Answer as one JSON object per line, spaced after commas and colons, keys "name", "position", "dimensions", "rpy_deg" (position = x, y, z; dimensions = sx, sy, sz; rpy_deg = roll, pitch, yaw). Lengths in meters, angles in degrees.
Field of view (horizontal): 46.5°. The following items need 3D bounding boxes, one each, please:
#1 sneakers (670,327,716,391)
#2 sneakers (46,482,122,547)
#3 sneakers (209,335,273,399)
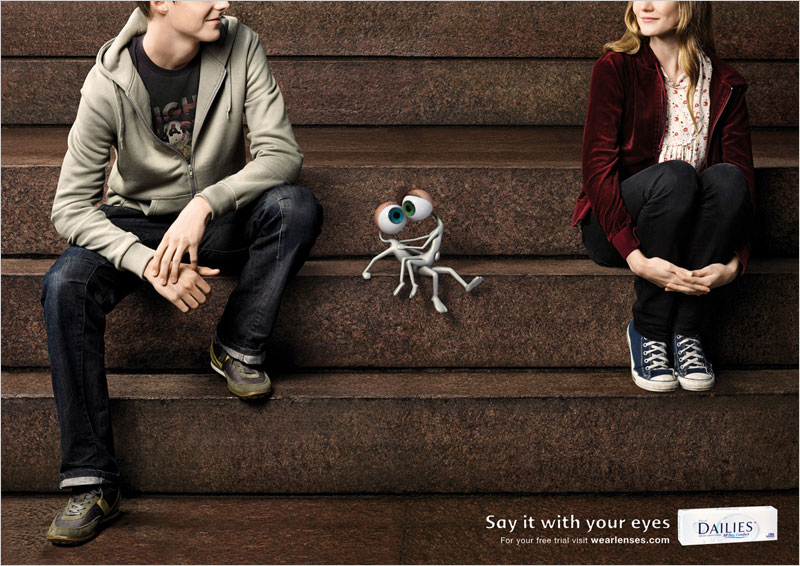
{"name": "sneakers", "position": [0.942, 0.265, 3.015], "dimensions": [0.094, 0.085, 0.237], "rpy_deg": [-6, 17, 5]}
{"name": "sneakers", "position": [-0.944, 0.701, 2.877], "dimensions": [0.119, 0.112, 0.277], "rpy_deg": [5, 12, 17]}
{"name": "sneakers", "position": [-0.530, 0.263, 3.064], "dimensions": [0.287, 0.108, 0.115], "rpy_deg": [26, 31, 30]}
